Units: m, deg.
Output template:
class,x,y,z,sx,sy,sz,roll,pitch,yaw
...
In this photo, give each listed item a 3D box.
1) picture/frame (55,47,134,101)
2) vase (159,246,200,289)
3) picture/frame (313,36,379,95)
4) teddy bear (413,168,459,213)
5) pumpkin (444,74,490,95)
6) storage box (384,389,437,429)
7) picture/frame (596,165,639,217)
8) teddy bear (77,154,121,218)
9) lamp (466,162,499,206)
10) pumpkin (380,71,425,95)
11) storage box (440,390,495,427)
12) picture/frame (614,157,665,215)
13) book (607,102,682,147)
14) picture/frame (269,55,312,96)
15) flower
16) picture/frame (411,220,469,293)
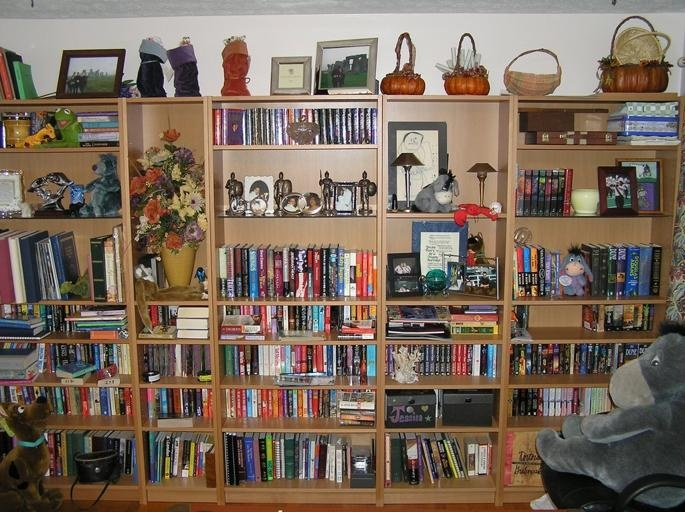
class,x,y,z,sx,sy,sz,roll,pitch,yaw
picture/frame,-1.598,-1.162,4.024,0.457,0.360,0.033,2,-16,3
vase,-1.069,0.066,4.111,0.266,0.275,0.262,0,7,-3
picture/frame,0.025,-1.192,3.958,0.477,0.386,0.036,1,-5,12
teddy bear,0.613,-0.413,4.058,0.252,0.265,0.246,14,11,39
pumpkin,0.772,-1.064,3.844,0.182,0.080,0.177,3,10,2
storage box,0.451,1.005,4.119,0.380,0.227,0.216,0,5,1
picture/frame,1.750,-0.409,3.994,0.336,0.404,0.033,-1,-6,0
teddy bear,-1.585,-0.469,4.085,0.290,0.406,0.242,-2,2,-15
lamp,0.909,-0.472,4.102,0.179,0.277,0.286,-1,6,11
pumpkin,0.386,-1.053,3.883,0.175,0.086,0.184,-6,17,-25
storage box,0.823,1.005,4.209,0.273,0.158,0.265,0,4,2
picture/frame,1.907,-0.433,4.027,0.391,0.489,0.035,-2,2,2
book,1.884,-0.830,3.948,0.409,0.273,0.148,1,7,25
picture/frame,-0.324,-1.141,3.980,0.319,0.302,0.023,-1,-3,2
flower,-1.127,-0.416,4.078,0.491,0.774,0.318,-3,6,-7
picture/frame,0.657,0.005,4.176,0.509,0.638,0.075,-1,3,5
